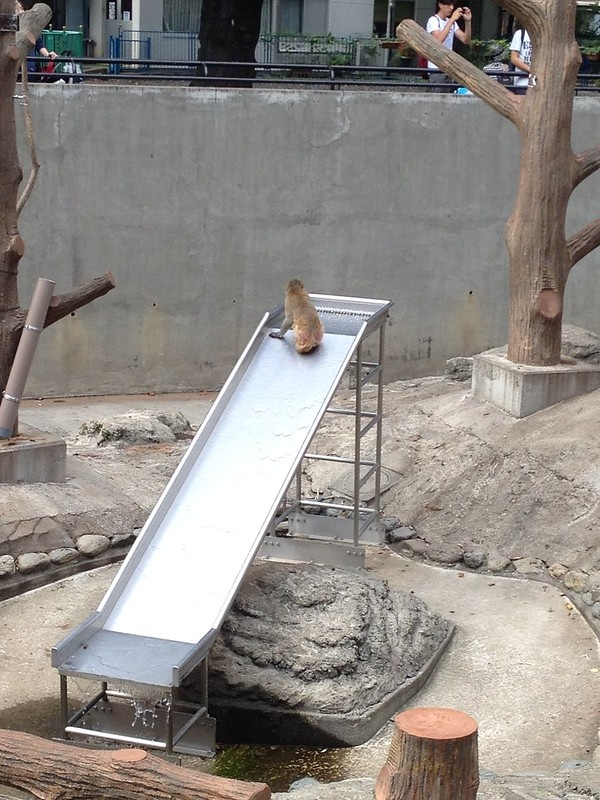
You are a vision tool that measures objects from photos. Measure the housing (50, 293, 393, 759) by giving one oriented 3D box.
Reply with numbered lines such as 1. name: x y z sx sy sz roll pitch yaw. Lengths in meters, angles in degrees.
1. housing: 0.220 0.502 6.662 1.048 1.915 3.781 7 30 18
